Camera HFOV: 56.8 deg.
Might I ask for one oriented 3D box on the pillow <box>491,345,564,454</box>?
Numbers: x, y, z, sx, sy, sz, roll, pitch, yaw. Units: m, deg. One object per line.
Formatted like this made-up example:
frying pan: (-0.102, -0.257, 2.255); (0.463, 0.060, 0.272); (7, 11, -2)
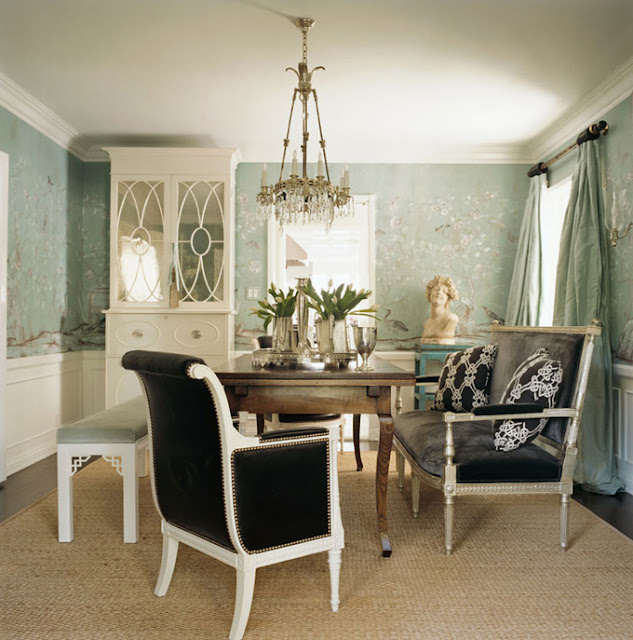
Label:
pillow: (0.980, 0.372, 2.783); (0.363, 0.449, 0.319); (0, 3, -5)

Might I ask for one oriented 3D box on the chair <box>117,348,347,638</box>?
chair: (-0.409, 0.544, 2.642); (0.925, 1.413, 0.873); (-1, 2, -37)

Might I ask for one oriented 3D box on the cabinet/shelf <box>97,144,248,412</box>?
cabinet/shelf: (-1.371, -0.326, 5.330); (1.057, 2.596, 0.492); (-1, 32, -19)

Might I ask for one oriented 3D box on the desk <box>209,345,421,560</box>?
desk: (-0.024, 0.565, 2.986); (0.769, 0.765, 0.987); (0, -1, 2)
